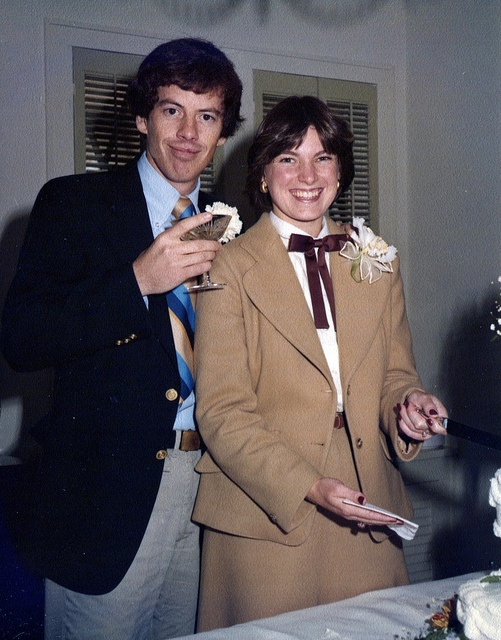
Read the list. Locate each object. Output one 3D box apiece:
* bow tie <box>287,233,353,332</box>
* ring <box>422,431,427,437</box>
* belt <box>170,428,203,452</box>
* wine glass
[{"bbox_3d":[0.142,-0.073,1.251,0.137,0.245,0.023,9,-22,-33],"label":"bow tie"},{"bbox_3d":[0.352,0.231,1.216,0.002,0.012,0.007,-1,2,-39],"label":"ring"},{"bbox_3d":[-0.127,0.247,1.225,0.058,0.060,0.036,16,-10,-31],"label":"belt"},{"bbox_3d":[-0.096,-0.159,1.244,0.086,0.207,0.105,-2,-2,31],"label":"wine glass"}]
